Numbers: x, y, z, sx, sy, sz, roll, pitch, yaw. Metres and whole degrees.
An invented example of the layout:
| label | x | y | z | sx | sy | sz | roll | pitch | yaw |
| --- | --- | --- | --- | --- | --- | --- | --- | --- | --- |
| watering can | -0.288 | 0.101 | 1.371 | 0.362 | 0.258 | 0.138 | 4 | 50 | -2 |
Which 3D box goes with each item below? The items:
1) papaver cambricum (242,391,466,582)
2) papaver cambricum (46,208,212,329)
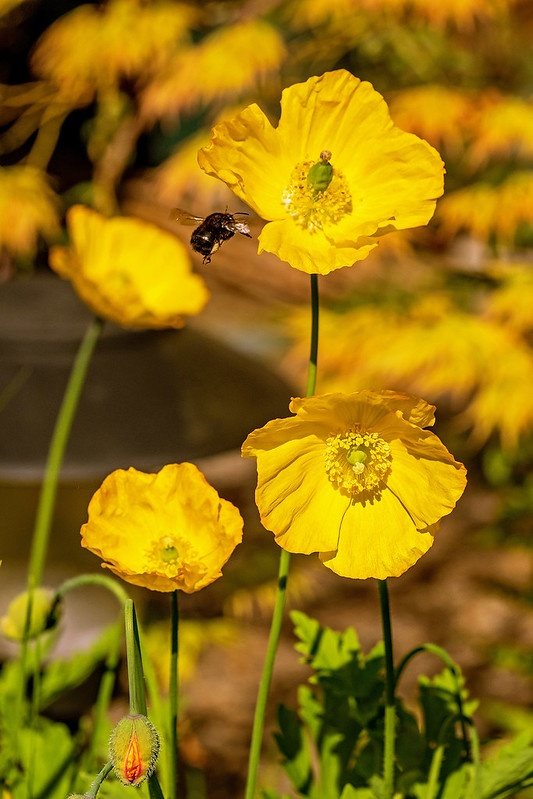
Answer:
| label | x | y | z | sx | sy | sz | roll | pitch | yaw |
| --- | --- | --- | --- | --- | --- | --- | --- | --- | --- |
| papaver cambricum | 0.044 | 0.042 | 0.447 | 0.126 | 0.121 | 0.044 | -25 | 19 | 14 |
| papaver cambricum | -0.098 | -0.095 | 0.515 | 0.095 | 0.064 | 0.096 | -20 | 46 | -12 |
